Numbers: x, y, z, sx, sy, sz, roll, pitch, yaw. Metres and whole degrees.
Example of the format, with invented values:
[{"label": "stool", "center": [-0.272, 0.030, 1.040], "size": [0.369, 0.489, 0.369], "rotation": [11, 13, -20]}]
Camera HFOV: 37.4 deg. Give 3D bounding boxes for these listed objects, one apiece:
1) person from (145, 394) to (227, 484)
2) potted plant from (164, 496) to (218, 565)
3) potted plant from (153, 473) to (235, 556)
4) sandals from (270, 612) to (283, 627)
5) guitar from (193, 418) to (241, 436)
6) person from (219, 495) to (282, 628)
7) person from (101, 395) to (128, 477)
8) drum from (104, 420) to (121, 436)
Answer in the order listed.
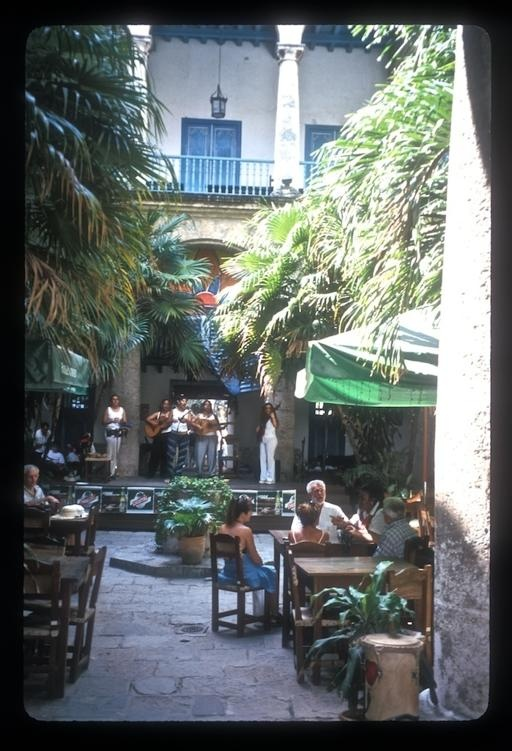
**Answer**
[{"label": "person", "center": [-1.314, 1.211, 13.647], "size": [1.299, 1.728, 0.627], "rotation": [1, -39, -1]}, {"label": "potted plant", "center": [-0.687, 1.760, 8.534], "size": [0.607, 0.720, 0.622], "rotation": [-1, -9, -1]}, {"label": "potted plant", "center": [-0.753, 1.634, 8.732], "size": [0.754, 0.861, 0.825], "rotation": [0, -11, 0]}, {"label": "sandals", "center": [0.161, 1.990, 6.131], "size": [0.063, 0.035, 0.117], "rotation": [15, -43, 14]}, {"label": "guitar", "center": [-0.869, 0.913, 13.136], "size": [0.502, 0.305, 0.283], "rotation": [2, -4, -13]}, {"label": "person", "center": [-0.032, 1.487, 6.111], "size": [0.384, 1.073, 0.528], "rotation": [2, 6, 40]}, {"label": "person", "center": [-2.496, 1.109, 13.442], "size": [0.399, 1.487, 1.425], "rotation": [2, -4, -10]}, {"label": "drum", "center": [-2.480, 0.947, 13.198], "size": [0.281, 0.293, 0.217], "rotation": [2, -4, -14]}]
